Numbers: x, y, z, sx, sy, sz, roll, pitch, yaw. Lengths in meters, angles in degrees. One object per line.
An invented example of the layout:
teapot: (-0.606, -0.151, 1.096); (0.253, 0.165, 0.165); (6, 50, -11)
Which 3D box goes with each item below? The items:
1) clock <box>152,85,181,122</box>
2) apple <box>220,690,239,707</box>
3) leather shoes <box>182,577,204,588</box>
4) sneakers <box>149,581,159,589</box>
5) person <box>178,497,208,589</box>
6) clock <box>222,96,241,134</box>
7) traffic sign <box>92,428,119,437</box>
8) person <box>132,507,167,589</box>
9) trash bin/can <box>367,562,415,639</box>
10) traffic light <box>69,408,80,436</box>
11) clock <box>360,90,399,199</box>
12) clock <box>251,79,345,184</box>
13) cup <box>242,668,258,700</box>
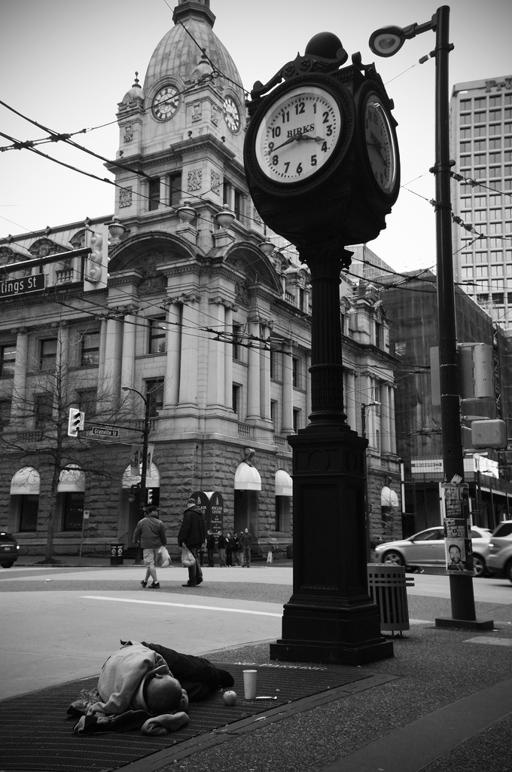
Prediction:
clock: (-4.704, -14.909, 43.872); (0.499, 2.326, 1.871); (10, -15, -44)
apple: (-0.161, 1.951, 5.218); (0.089, 0.092, 0.090); (-12, -14, 32)
leather shoes: (-1.298, 4.100, 17.330); (0.533, 0.242, 0.175); (0, -11, 11)
sneakers: (-2.042, 4.040, 16.872); (0.196, 0.142, 0.104); (1, -13, 19)
person: (-1.344, 3.263, 17.399); (0.480, 1.809, 0.935); (-1, -11, 2)
clock: (-1.246, -14.541, 44.723); (0.399, 2.335, 1.632); (-5, -12, 18)
traffic sign: (-5.855, 1.777, 32.493); (0.579, 0.273, 1.313); (-6, -12, 22)
person: (-2.226, 3.397, 17.545); (0.641, 1.636, 1.839); (1, -11, -8)
trash bin/can: (1.486, 2.357, 9.308); (0.466, 0.705, 0.309); (0, -11, -8)
traffic light: (-6.727, 1.328, 31.093); (0.320, 1.004, 0.523); (0, -11, -3)
clock: (1.208, -2.365, 8.187); (0.074, 1.108, 1.074); (-6, 5, 31)
clock: (0.382, -2.353, 7.894); (1.002, 0.999, 0.138); (-11, -15, 42)
cup: (-0.034, 1.895, 5.273); (0.071, 0.190, 0.122); (-1, -11, 1)
